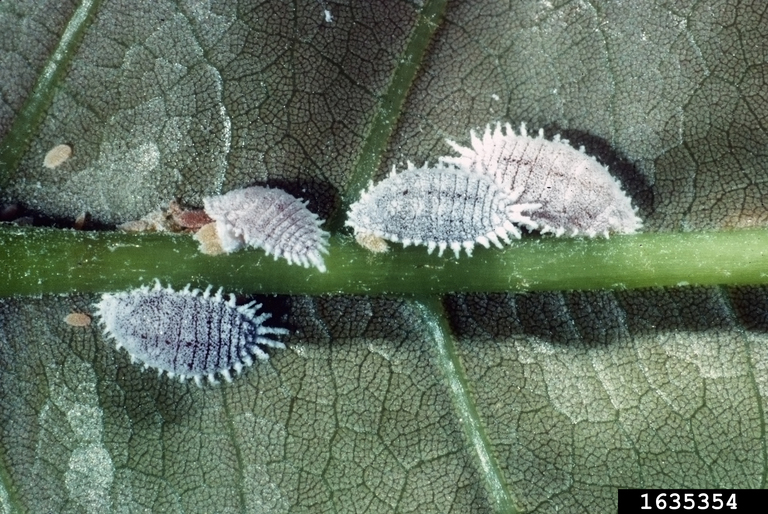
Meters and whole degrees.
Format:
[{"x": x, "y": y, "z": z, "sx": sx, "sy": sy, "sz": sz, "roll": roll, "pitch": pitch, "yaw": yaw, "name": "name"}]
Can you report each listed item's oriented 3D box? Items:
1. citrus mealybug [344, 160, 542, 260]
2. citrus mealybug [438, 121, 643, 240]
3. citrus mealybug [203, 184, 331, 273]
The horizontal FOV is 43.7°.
[{"x": 0.464, "y": -0.399, "z": 8.000, "sx": 1.560, "sy": 0.743, "sz": 0.421, "roll": 4, "pitch": -7, "yaw": 3, "name": "citrus mealybug"}, {"x": 1.367, "y": -0.638, "z": 8.356, "sx": 1.357, "sy": 0.962, "sz": 1.637, "roll": 16, "pitch": 30, "yaw": 33, "name": "citrus mealybug"}, {"x": -0.960, "y": -0.279, "z": 8.093, "sx": 1.062, "sy": 0.584, "sz": 0.346, "roll": 12, "pitch": -7, "yaw": 5, "name": "citrus mealybug"}]
